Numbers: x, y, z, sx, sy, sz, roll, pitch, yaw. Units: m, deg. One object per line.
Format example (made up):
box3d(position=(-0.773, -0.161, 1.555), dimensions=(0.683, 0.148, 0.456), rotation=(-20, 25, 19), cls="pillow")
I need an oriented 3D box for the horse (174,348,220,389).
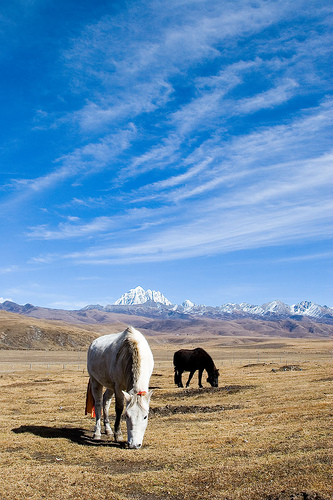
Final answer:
box3d(position=(2.051, 9.073, 33.750), dimensions=(2.176, 3.044, 3.781), rotation=(5, -9, -30), cls="horse")
